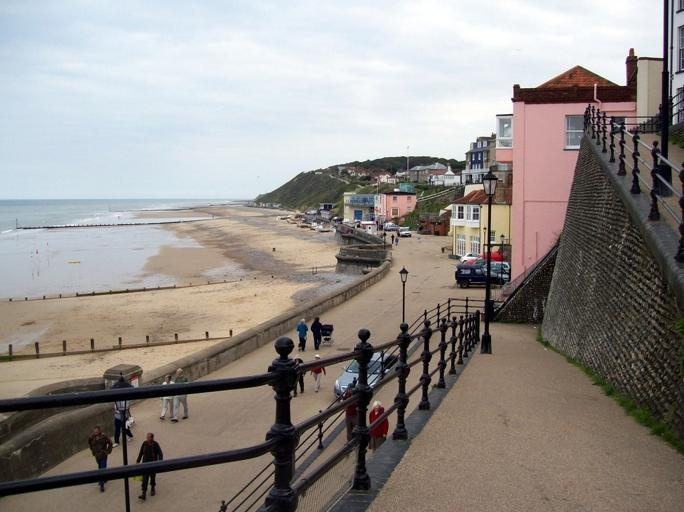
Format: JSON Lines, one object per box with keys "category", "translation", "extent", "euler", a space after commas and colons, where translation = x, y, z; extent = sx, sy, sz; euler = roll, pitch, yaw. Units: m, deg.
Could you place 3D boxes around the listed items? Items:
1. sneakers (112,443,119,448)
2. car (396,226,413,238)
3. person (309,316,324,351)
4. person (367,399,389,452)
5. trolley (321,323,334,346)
{"category": "sneakers", "translation": [-5.057, 4.243, 11.725], "extent": [0.190, 0.073, 0.084], "euler": [5, -3, -35]}
{"category": "car", "translation": [8.225, -3.141, 70.694], "extent": [1.312, 0.944, 2.137], "euler": [-2, 1, -10]}
{"category": "person", "translation": [-0.971, 3.051, 20.576], "extent": [0.436, 1.245, 1.004], "euler": [-5, -4, -3]}
{"category": "person", "translation": [0.464, 2.387, 7.110], "extent": [0.313, 0.736, 0.285], "euler": [1, 4, 35]}
{"category": "trolley", "translation": [-0.596, 3.158, 21.056], "extent": [0.594, 0.838, 0.724], "euler": [0, -2, 2]}
